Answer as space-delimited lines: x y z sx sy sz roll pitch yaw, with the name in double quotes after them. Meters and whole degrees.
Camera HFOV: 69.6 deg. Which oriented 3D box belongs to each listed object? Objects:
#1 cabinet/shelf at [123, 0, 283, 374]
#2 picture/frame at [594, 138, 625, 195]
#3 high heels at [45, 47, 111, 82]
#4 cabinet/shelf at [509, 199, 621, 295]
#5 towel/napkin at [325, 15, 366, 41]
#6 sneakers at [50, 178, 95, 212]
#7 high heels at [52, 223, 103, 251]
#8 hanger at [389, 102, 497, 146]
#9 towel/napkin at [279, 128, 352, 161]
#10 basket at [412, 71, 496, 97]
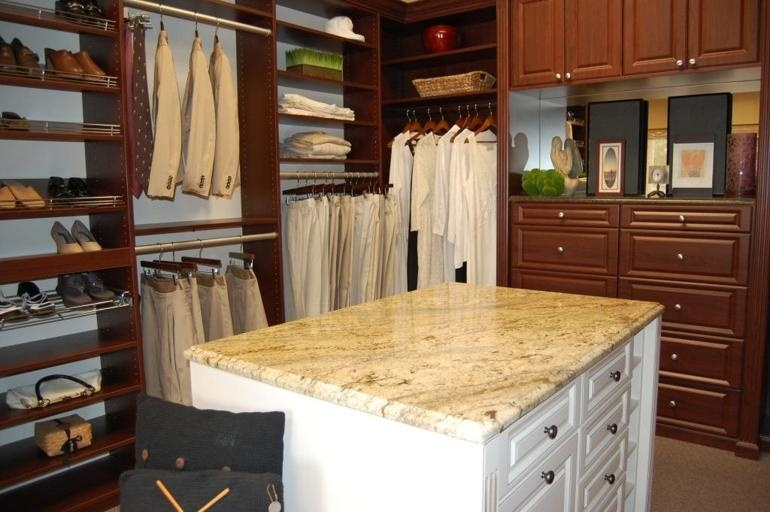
-1.101 -0.564 3.748 0.665 2.204 1.108 3 16 22 "cabinet/shelf"
1.690 -0.661 4.153 0.174 0.375 0.145 3 16 23 "picture/frame"
-1.703 -1.064 3.064 0.309 0.115 0.189 17 22 31 "high heels"
1.352 -0.066 4.271 0.902 0.916 0.606 2 3 37 "cabinet/shelf"
-0.331 -1.839 4.469 0.407 0.216 0.151 3 13 -13 "towel/napkin"
-1.765 -0.362 3.120 0.185 0.087 0.259 -16 31 -42 "sneakers"
-1.742 -0.095 3.135 0.253 0.093 0.181 22 23 37 "high heels"
0.512 -1.151 4.796 0.914 0.309 0.631 0 15 13 "hanger"
-0.532 -0.865 4.387 0.551 0.237 0.230 -7 15 -12 "towel/napkin"
0.565 -1.397 4.550 0.474 0.097 0.311 0 5 22 "basket"
